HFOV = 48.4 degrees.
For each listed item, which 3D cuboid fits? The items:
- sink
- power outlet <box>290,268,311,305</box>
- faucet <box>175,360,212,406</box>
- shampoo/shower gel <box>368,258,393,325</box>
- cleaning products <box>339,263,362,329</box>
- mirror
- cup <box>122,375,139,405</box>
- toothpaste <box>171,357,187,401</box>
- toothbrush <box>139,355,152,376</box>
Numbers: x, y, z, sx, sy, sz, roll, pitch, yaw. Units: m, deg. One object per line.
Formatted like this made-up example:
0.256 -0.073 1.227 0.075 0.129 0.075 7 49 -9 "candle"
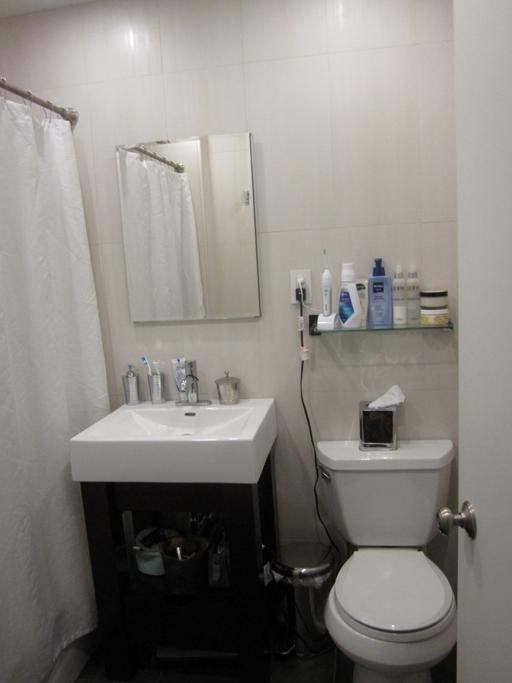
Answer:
-0.260 0.316 1.859 0.605 0.223 0.440 -7 13 11 "sink"
0.151 -0.193 1.939 0.082 0.190 0.016 0 1 5 "power outlet"
-0.209 0.133 2.068 0.100 0.218 0.148 1 13 6 "faucet"
0.399 -0.157 1.851 0.085 0.216 0.133 -3 11 12 "shampoo/shower gel"
0.302 -0.150 1.847 0.070 0.207 0.075 -4 10 6 "cleaning products"
-0.219 -0.415 1.963 0.426 0.817 0.040 0 8 11 "mirror"
-0.456 0.173 2.071 0.057 0.125 0.062 1 14 0 "cup"
-0.273 0.135 2.046 0.055 0.170 0.132 -7 11 -10 "toothpaste"
-0.408 0.090 2.097 0.023 0.016 0.104 -1 -38 10 "toothbrush"
